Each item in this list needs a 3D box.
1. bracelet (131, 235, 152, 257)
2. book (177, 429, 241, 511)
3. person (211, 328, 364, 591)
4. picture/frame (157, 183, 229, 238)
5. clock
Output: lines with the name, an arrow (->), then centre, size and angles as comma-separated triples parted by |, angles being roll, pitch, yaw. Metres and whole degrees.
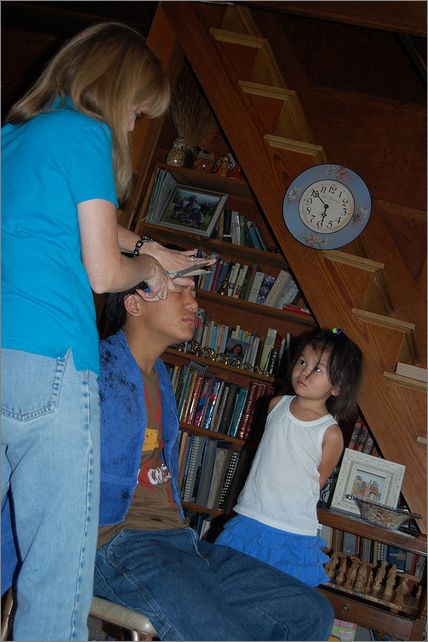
bracelet -> -0.182, -0.184, 1.183 | 0.021, 0.060, 0.050 | 26, 2, -11
book -> -0.038, 0.784, 2.670 | 0.363, 0.357, 0.315 | 9, 2, 9
person -> 0.279, 0.543, 1.730 | 0.367, 1.020, 0.336 | 16, 4, 14
picture/frame -> -0.124, -0.612, 2.711 | 0.295, 0.293, 0.022 | 17, -26, 10
clock -> 0.519, -0.570, 2.416 | 0.065, 0.464, 0.476 | -5, 23, -36
